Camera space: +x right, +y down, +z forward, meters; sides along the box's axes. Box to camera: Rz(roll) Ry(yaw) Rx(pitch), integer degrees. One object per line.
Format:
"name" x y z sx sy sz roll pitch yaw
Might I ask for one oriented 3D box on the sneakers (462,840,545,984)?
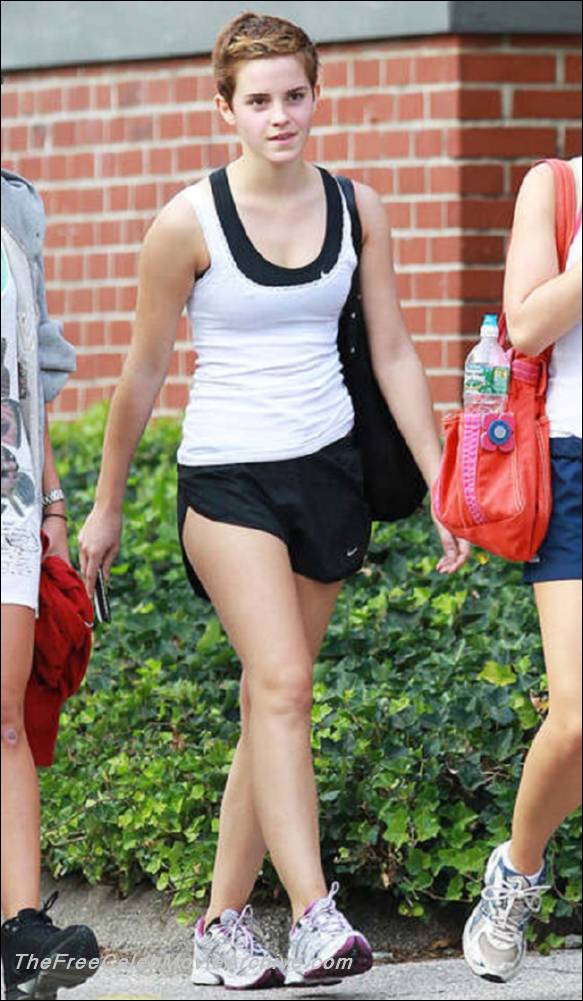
"sneakers" 0.447 0.784 2.018 0.121 0.335 0.140 20 -17 -7
